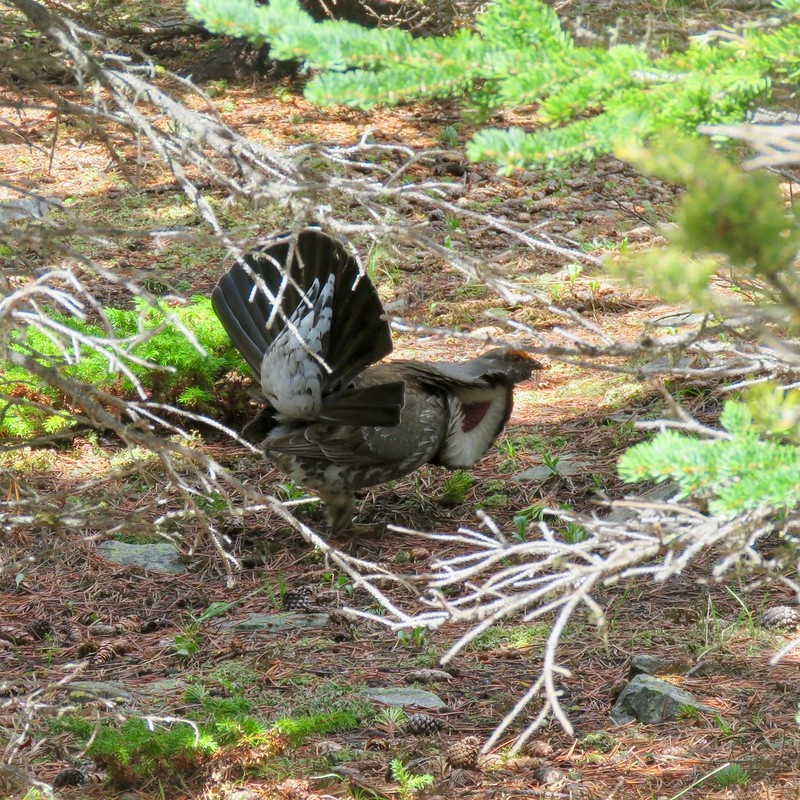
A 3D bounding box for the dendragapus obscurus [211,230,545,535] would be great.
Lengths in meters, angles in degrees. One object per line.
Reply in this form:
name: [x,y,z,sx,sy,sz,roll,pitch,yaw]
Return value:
dendragapus obscurus: [-0.295,-0.101,5.566,1.134,1.658,1.135,18,25,26]
